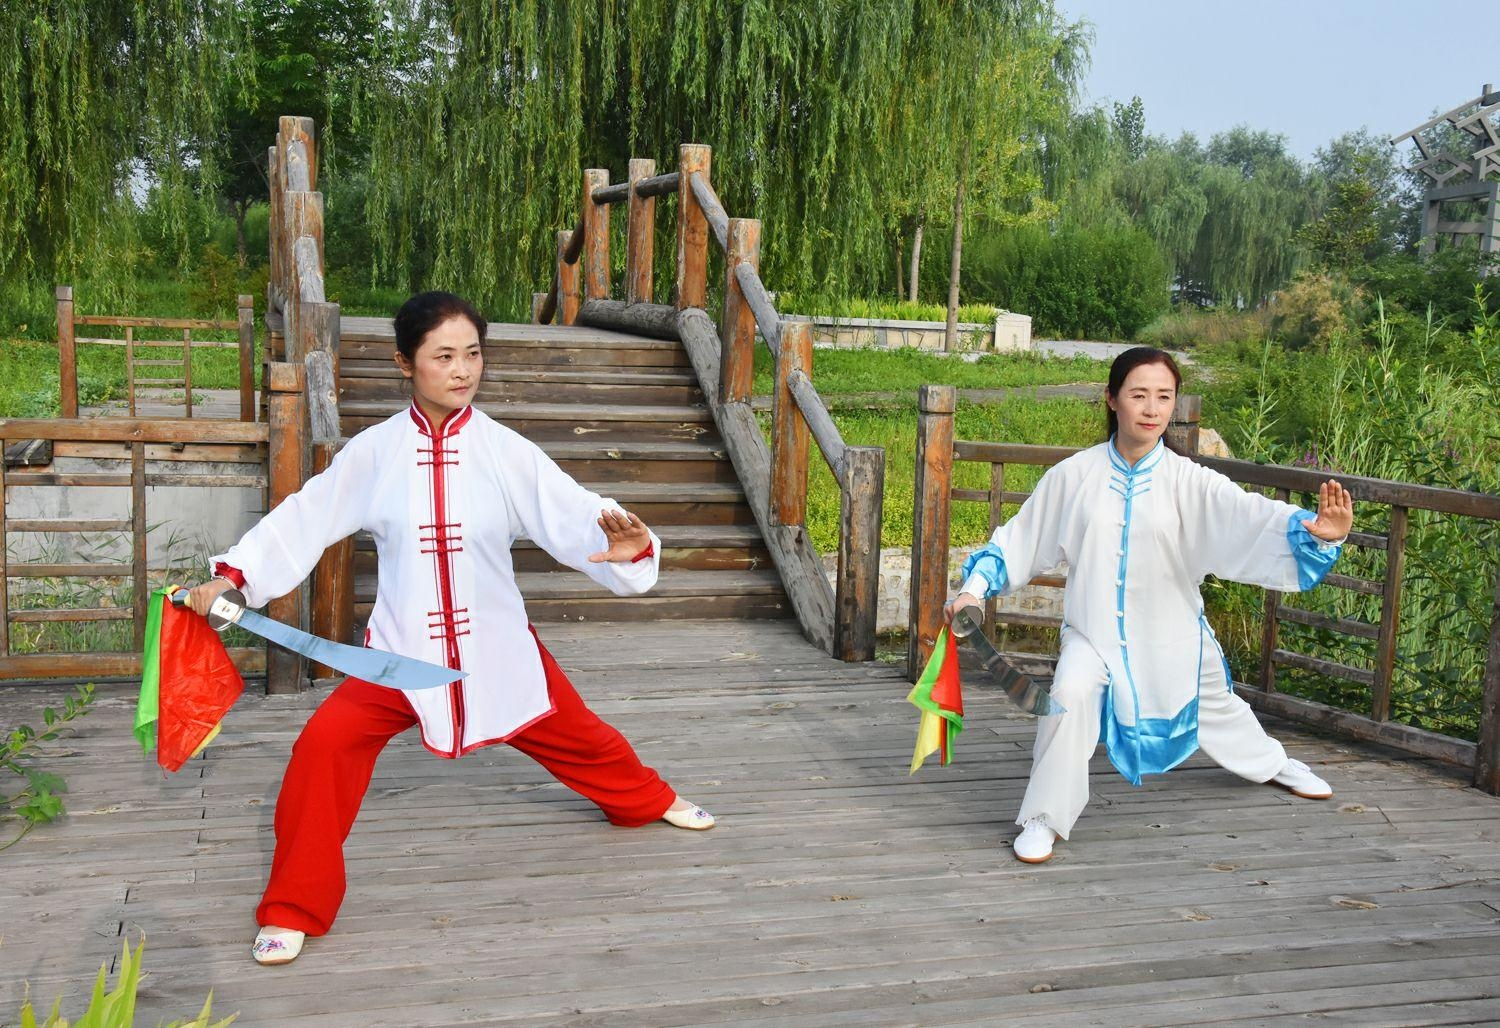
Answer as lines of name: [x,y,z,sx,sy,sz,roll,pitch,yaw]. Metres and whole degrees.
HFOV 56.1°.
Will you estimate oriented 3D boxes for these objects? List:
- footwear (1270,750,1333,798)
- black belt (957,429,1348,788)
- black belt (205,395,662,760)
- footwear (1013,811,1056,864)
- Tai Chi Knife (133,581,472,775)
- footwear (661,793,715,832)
footwear: [2.401,1.171,6.159,0.135,0.097,0.256,-17,22,-39]
black belt: [1.569,0.218,6.029,1.315,1.571,1.948,1,35,-3]
black belt: [-1.194,0.137,5.688,1.242,1.584,1.921,4,12,-16]
footwear: [1.156,1.336,5.679,0.109,0.083,0.212,4,12,23]
Tai Chi Knife: [-1.645,0.635,5.195,1.106,0.611,0.270,6,13,0]
footwear: [-0.245,1.257,5.789,0.112,0.057,0.207,-8,11,-43]
